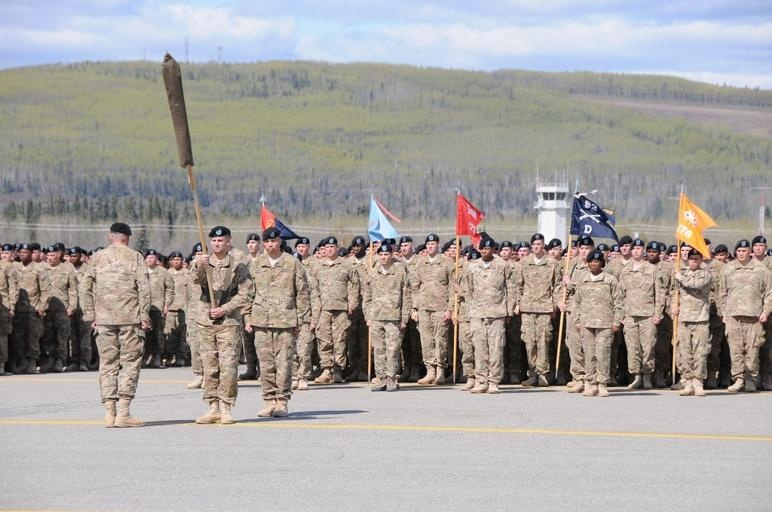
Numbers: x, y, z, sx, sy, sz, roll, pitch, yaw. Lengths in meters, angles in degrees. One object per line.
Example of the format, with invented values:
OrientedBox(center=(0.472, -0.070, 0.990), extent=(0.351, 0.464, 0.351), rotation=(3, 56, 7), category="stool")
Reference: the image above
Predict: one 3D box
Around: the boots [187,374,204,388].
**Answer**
OrientedBox(center=(-7.189, 4.863, 65.188), extent=(0.725, 0.579, 0.349), rotation=(1, -5, 2), category="boots")

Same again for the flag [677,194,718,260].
OrientedBox(center=(11.872, -1.254, 65.781), extent=(1.429, 2.401, 0.222), rotation=(12, 17, 21), category="flag")

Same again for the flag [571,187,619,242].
OrientedBox(center=(8.238, -1.517, 67.932), extent=(2.118, 1.733, 0.283), rotation=(7, 2, -15), category="flag")
